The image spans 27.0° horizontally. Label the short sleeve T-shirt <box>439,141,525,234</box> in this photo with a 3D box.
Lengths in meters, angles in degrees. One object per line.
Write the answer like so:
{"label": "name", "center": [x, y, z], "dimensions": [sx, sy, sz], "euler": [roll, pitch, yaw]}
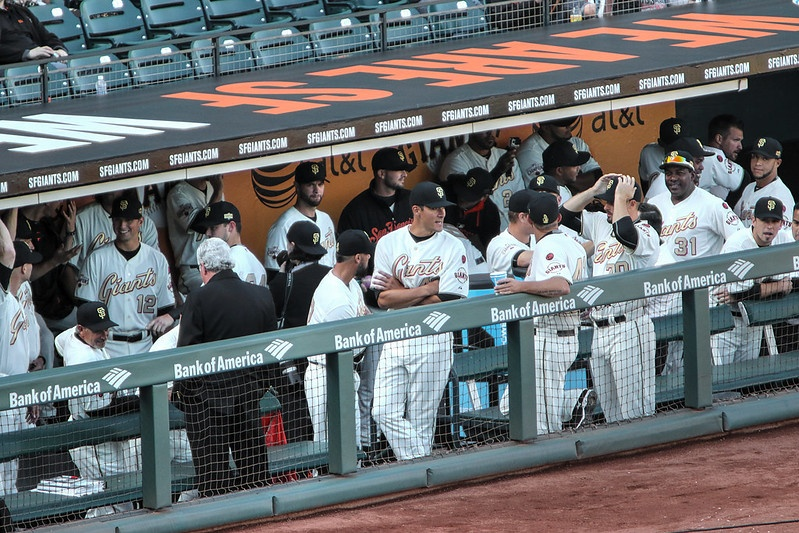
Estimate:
{"label": "short sleeve T-shirt", "center": [0.812, -0.873, 15.526], "dimensions": [0.521, 0.917, 0.572], "euler": [-24, 33, -4]}

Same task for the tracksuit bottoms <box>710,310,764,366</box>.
{"label": "tracksuit bottoms", "center": [2.692, 0.601, 13.417], "dimensions": [0.492, 0.216, 0.596], "euler": [-8, -32, 2]}

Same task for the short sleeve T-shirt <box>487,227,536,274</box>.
{"label": "short sleeve T-shirt", "center": [0.928, -0.127, 13.426], "dimensions": [0.185, 0.269, 0.293], "euler": [14, -41, -31]}

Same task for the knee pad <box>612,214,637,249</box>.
{"label": "knee pad", "center": [1.779, -0.276, 12.853], "dimensions": [0.105, 0.193, 0.237], "euler": [-29, 33, 6]}

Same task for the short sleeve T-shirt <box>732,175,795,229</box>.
{"label": "short sleeve T-shirt", "center": [3.203, -0.562, 14.591], "dimensions": [0.197, 0.360, 0.472], "euler": [9, 19, -25]}

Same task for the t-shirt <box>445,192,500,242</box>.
{"label": "t-shirt", "center": [0.646, -0.446, 14.995], "dimensions": [0.485, 0.304, 0.205], "euler": [3, 17, -26]}

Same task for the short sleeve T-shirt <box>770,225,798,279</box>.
{"label": "short sleeve T-shirt", "center": [3.181, -0.120, 13.569], "dimensions": [0.304, 0.450, 0.117], "euler": [1, -16, 12]}

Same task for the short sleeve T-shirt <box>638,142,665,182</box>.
{"label": "short sleeve T-shirt", "center": [2.410, -0.989, 15.719], "dimensions": [0.134, 0.305, 0.371], "euler": [19, -33, 3]}

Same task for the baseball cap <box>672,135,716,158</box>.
{"label": "baseball cap", "center": [2.570, -1.036, 14.444], "dimensions": [0.333, 0.134, 0.201], "euler": [4, 12, -10]}

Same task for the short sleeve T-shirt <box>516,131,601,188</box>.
{"label": "short sleeve T-shirt", "center": [1.555, -1.037, 15.869], "dimensions": [0.754, 0.344, 0.432], "euler": [1, 21, -22]}

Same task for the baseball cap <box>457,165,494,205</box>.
{"label": "baseball cap", "center": [0.673, -0.704, 14.794], "dimensions": [0.361, 0.243, 0.199], "euler": [-32, -22, -22]}

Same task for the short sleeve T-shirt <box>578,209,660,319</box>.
{"label": "short sleeve T-shirt", "center": [1.741, -0.003, 12.894], "dimensions": [0.268, 0.516, 0.856], "euler": [15, 1, -20]}

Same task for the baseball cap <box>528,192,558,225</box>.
{"label": "baseball cap", "center": [1.124, -0.439, 12.819], "dimensions": [0.202, 0.247, 0.161], "euler": [0, -14, 3]}

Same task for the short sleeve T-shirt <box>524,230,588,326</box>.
{"label": "short sleeve T-shirt", "center": [1.214, 0.100, 12.952], "dimensions": [0.512, 0.768, 0.874], "euler": [4, 2, 22]}

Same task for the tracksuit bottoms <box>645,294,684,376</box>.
{"label": "tracksuit bottoms", "center": [2.169, 0.520, 13.186], "dimensions": [0.162, 0.540, 0.443], "euler": [2, 0, 33]}

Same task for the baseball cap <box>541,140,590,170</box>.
{"label": "baseball cap", "center": [1.519, -0.998, 15.040], "dimensions": [0.380, 0.195, 0.249], "euler": [-9, 23, -1]}

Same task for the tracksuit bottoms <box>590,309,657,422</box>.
{"label": "tracksuit bottoms", "center": [1.714, 0.832, 12.952], "dimensions": [0.488, 1.004, 0.353], "euler": [-1, 13, 32]}
